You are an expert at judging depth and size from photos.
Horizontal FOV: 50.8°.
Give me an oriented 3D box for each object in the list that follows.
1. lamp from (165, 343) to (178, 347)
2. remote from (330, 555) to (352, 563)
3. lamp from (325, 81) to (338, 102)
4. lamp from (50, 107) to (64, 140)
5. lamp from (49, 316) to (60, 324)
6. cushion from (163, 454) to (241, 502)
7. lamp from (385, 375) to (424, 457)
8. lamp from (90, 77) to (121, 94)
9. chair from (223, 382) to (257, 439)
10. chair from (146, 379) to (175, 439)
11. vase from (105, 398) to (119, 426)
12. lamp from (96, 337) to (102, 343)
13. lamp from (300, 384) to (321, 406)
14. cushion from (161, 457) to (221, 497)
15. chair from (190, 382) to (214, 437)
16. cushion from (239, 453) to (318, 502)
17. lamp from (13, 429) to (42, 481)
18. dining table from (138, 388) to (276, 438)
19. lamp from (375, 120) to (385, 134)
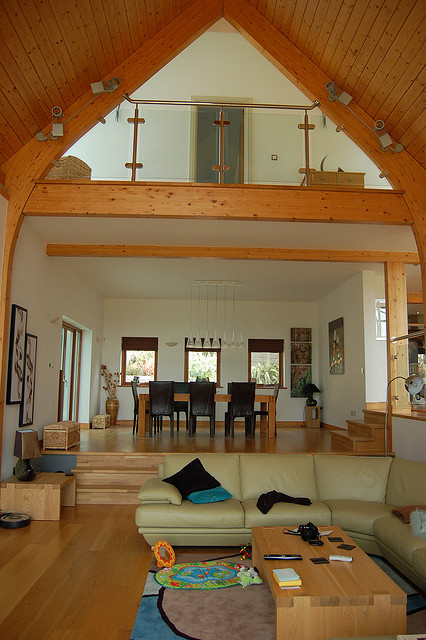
[{"bbox_3d":[-0.987,0.595,10.334,0.271,0.086,0.153,-2,-8,23],"label":"lamp"},{"bbox_3d":[0.673,1.269,2.373,0.113,0.018,0.081,2,-7,-7],"label":"remote"},{"bbox_3d":[1.309,-2.509,4.942,0.156,0.179,0.185,-6,-13,11],"label":"lamp"},{"bbox_3d":[-1.659,-2.128,4.780,0.130,0.373,0.253,4,-8,-21],"label":"lamp"},{"bbox_3d":[-2.376,0.002,6.676,0.054,0.098,0.094,-4,-13,33],"label":"lamp"},{"bbox_3d":[-0.068,1.406,4.089,0.417,0.140,0.473,18,24,-17],"label":"cushion"},{"bbox_3d":[2.312,1.153,5.468,0.412,0.938,1.129,-1,-8,19],"label":"lamp"},{"bbox_3d":[-1.173,-2.545,4.896,0.283,0.194,0.104,-12,-17,-10],"label":"lamp"},{"bbox_3d":[0.500,1.508,7.272,0.485,0.881,0.539,4,-18,-2],"label":"chair"},{"bbox_3d":[-0.924,1.476,7.424,0.460,0.928,0.559,4,-7,-18],"label":"chair"},{"bbox_3d":[-2.245,2.052,9.936,0.307,0.577,0.353,3,-7,-14],"label":"vase"},{"bbox_3d":[-2.552,0.463,9.974,0.105,0.141,0.190,-3,-14,13],"label":"lamp"},{"bbox_3d":[2.180,1.677,9.946,0.410,0.586,0.432,0,-6,0],"label":"lamp"},{"bbox_3d":[-0.176,1.364,3.866,0.239,0.079,0.253,-9,30,-37],"label":"cushion"},{"bbox_3d":[-0.162,1.471,7.286,0.415,0.904,0.508,1,-10,3],"label":"chair"},{"bbox_3d":[0.570,1.417,4.027,0.520,0.388,0.132,4,-34,-4],"label":"cushion"},{"bbox_3d":[-1.929,1.410,4.650,0.255,0.509,0.389,4,-8,-22],"label":"lamp"},{"bbox_3d":[-0.109,1.648,7.778,2.289,0.868,0.729,2,-6,-7],"label":"dining table"},{"bbox_3d":[1.806,-2.096,4.905,0.116,0.126,0.142,-1,6,10],"label":"lamp"}]
